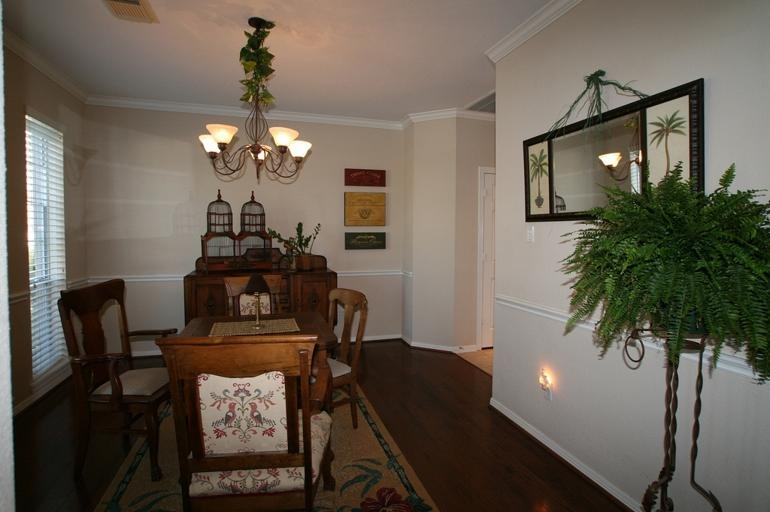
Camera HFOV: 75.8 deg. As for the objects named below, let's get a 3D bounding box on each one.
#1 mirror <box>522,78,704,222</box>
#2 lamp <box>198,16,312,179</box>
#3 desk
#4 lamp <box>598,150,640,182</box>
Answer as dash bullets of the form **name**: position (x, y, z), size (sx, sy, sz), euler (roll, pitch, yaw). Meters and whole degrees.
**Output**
- **mirror**: position (1.574, -0.671, 3.766), size (0.040, 0.865, 1.510), euler (9, -7, -31)
- **lamp**: position (-1.282, -1.432, 4.993), size (1.043, 1.318, 2.413), euler (-1, 5, -16)
- **desk**: position (-0.955, 1.147, 3.860), size (1.150, 1.171, 1.442), euler (-3, 5, -23)
- **lamp**: position (1.677, -0.658, 3.574), size (0.137, 0.162, 0.232), euler (-5, 11, -37)
